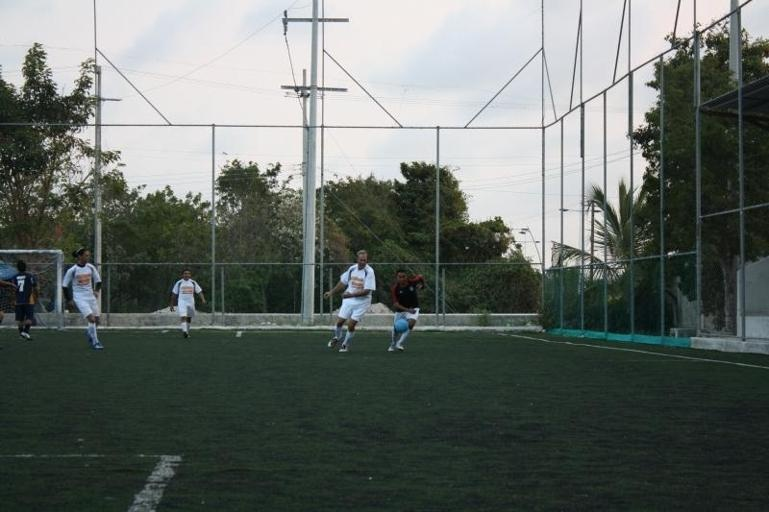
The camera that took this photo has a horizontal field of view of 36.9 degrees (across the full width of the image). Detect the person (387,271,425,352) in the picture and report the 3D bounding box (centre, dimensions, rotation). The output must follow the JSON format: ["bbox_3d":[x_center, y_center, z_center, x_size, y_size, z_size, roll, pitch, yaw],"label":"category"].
[{"bbox_3d":[0.537,1.471,29.652,0.848,2.112,1.496,1,-4,0],"label":"person"}]

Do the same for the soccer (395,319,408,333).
[{"bbox_3d":[0.433,1.801,28.911,0.308,0.320,0.313,7,41,6],"label":"soccer"}]

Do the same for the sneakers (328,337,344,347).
[{"bbox_3d":[-1.286,2.290,29.414,0.194,0.232,0.546,4,-7,-20],"label":"sneakers"}]

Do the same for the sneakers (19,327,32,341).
[{"bbox_3d":[-10.040,2.264,32.193,0.113,0.333,0.154,-41,13,-14],"label":"sneakers"}]
